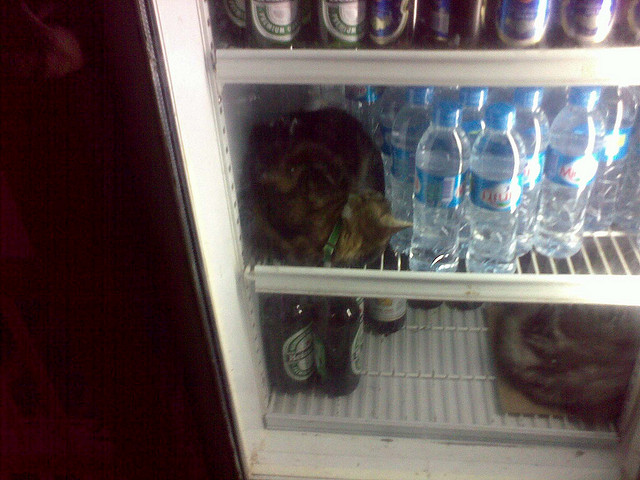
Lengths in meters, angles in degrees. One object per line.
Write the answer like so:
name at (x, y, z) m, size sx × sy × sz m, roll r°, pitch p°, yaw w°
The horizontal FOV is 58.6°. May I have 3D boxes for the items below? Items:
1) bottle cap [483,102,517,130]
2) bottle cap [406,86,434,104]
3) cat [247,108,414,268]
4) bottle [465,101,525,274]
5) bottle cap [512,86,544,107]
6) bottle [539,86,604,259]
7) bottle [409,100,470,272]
bottle cap at (0.376, -0.262, 1.190) m, size 0.051 × 0.036 × 0.058 m, roll 25°, pitch 64°, yaw 23°
bottle cap at (0.227, -0.329, 1.284) m, size 0.057 × 0.043 × 0.044 m, roll 6°, pitch 29°, yaw 15°
cat at (0.018, -0.110, 1.352) m, size 0.377 × 0.388 × 0.116 m, roll -3°, pitch 25°, yaw -1°
bottle at (0.413, -0.107, 1.314) m, size 0.141 × 0.441 × 0.139 m, roll -2°, pitch 25°, yaw 1°
bottle cap at (0.441, -0.305, 1.198) m, size 0.043 × 0.039 × 0.044 m, roll -15°, pitch 23°, yaw -31°
bottle at (0.573, -0.168, 1.312) m, size 0.104 × 0.405 × 0.112 m, roll -6°, pitch 40°, yaw 5°
bottle at (0.276, -0.114, 1.322) m, size 0.127 × 0.446 × 0.120 m, roll -2°, pitch 25°, yaw 1°
